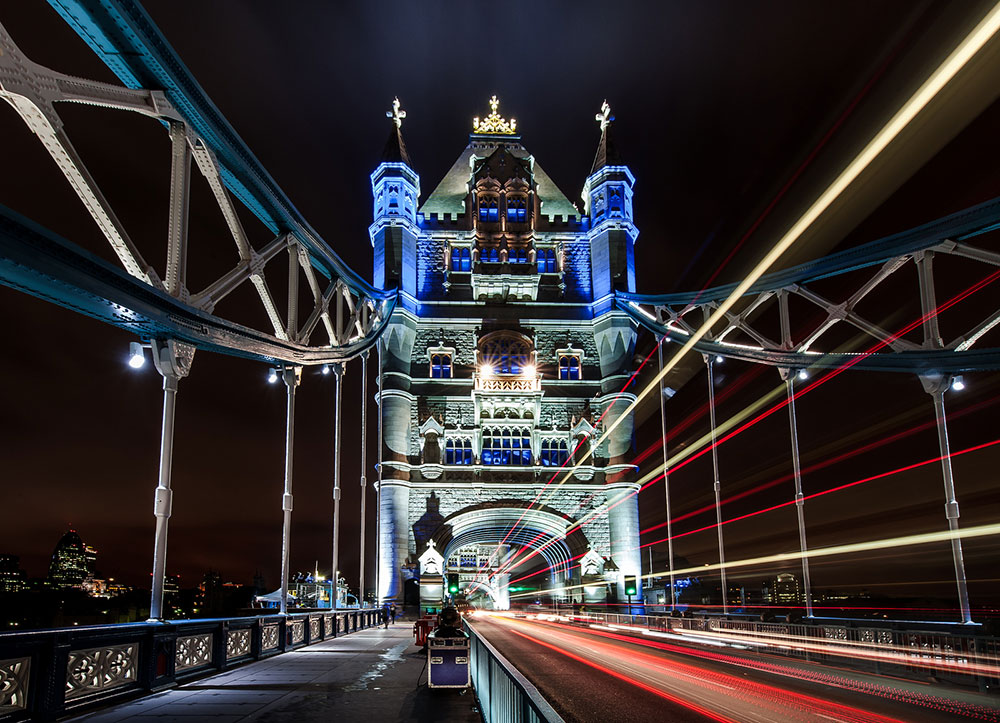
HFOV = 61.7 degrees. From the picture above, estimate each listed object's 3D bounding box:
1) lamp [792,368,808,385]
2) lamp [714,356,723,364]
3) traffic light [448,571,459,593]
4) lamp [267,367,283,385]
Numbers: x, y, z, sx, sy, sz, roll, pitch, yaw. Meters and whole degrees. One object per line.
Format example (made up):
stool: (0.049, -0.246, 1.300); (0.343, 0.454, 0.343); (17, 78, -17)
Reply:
lamp: (15.324, 0.715, 42.688); (0.702, 0.432, 1.685); (-8, -20, 22)
lamp: (13.622, -0.175, 52.416); (0.143, 0.370, 0.421); (4, -4, -13)
traffic light: (-3.029, 13.920, 53.058); (0.614, 1.260, 0.756); (4, -20, -12)
lamp: (-6.524, 0.340, 24.303); (0.619, 0.580, 0.157); (-14, -14, 37)
